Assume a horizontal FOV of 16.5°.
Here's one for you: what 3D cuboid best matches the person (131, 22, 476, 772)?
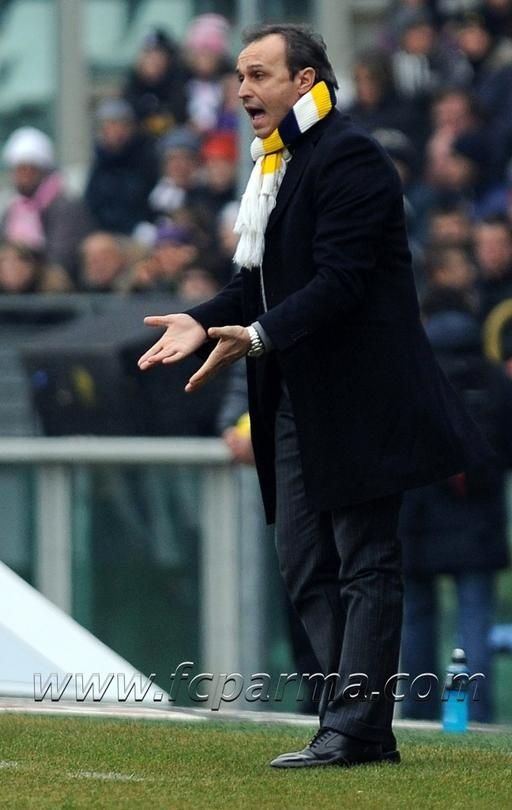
[{"bbox_3d":[0.133,-0.034,3.835,0.668,1.602,0.481,0,0,13],"label":"person"}]

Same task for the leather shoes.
[{"bbox_3d":[0.179,0.741,3.771,0.265,0.094,0.085,4,-15,-8],"label":"leather shoes"}]

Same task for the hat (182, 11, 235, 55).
[{"bbox_3d":[-0.127,-1.074,5.114,0.126,0.116,0.086,14,19,2],"label":"hat"}]
